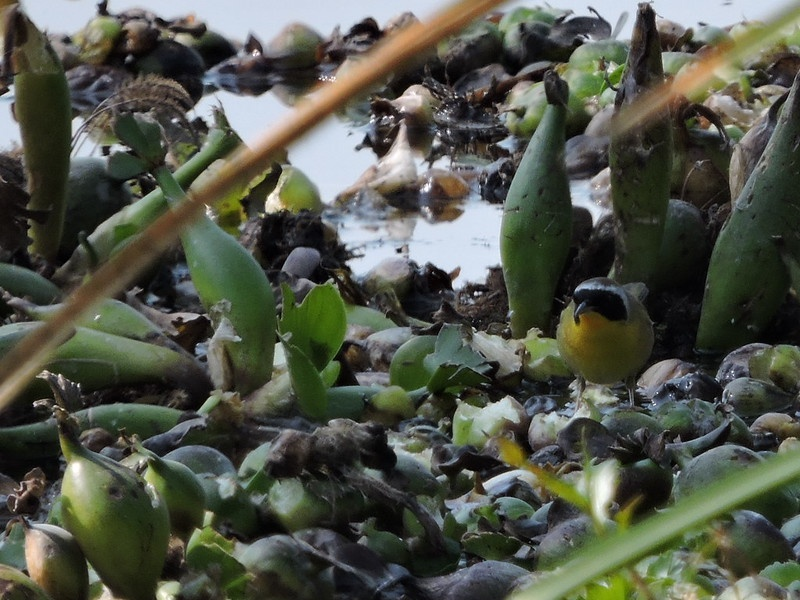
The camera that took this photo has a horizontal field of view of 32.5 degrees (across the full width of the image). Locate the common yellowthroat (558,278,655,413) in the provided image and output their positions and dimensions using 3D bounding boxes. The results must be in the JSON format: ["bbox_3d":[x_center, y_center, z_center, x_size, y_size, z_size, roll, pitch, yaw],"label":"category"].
[{"bbox_3d":[0.444,0.094,2.977,0.201,0.309,0.439,1,10,13],"label":"common yellowthroat"}]
